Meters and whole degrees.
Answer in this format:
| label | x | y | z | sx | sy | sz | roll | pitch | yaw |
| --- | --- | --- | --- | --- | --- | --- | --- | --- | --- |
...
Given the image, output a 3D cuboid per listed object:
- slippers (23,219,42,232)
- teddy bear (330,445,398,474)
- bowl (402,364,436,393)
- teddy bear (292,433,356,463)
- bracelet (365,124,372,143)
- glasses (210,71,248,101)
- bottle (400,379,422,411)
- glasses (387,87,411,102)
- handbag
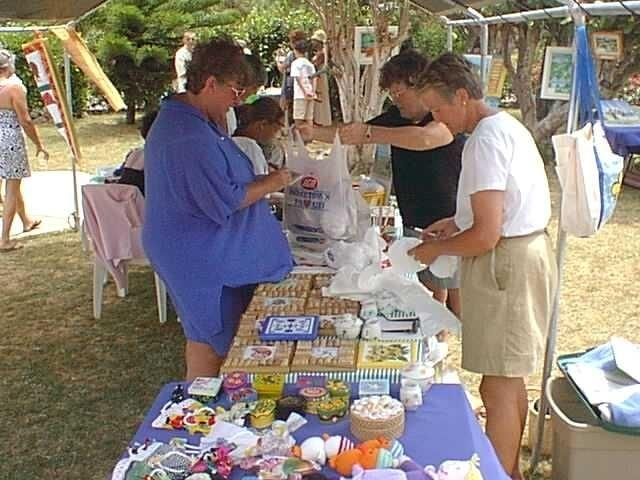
| label | x | y | z | sx | sy | sz | roll | pitch | yaw |
| --- | --- | --- | --- | --- | --- | --- | --- | --- | --- |
| slippers | -3.929 | -0.192 | 7.077 | 0.269 | 0.108 | 0.097 | -38 | 14 | -28 |
| teddy bear | 0.122 | 0.728 | 1.715 | 0.148 | 0.065 | 0.088 | -19 | 11 | 4 |
| bowl | 0.389 | 0.531 | 2.034 | 0.118 | 0.096 | 0.105 | -1 | 9 | 9 |
| teddy bear | 0.016 | 0.709 | 1.768 | 0.137 | 0.057 | 0.103 | -11 | 6 | -7 |
| bracelet | 0.295 | -0.658 | 3.192 | 0.056 | 0.083 | 0.085 | 2 | -5 | 6 |
| glasses | -0.460 | -0.750 | 2.557 | 0.190 | 0.138 | 0.133 | -13 | 18 | -27 |
| bottle | 0.341 | 0.588 | 1.963 | 0.105 | 0.102 | 0.079 | 1 | 3 | 23 |
| glasses | 0.487 | -0.895 | 3.144 | 0.095 | 0.030 | 0.089 | 8 | 3 | -21 |
| handbag | 1.363 | -0.307 | 2.664 | 0.321 | 0.600 | 0.287 | 5 | 19 | 29 |
